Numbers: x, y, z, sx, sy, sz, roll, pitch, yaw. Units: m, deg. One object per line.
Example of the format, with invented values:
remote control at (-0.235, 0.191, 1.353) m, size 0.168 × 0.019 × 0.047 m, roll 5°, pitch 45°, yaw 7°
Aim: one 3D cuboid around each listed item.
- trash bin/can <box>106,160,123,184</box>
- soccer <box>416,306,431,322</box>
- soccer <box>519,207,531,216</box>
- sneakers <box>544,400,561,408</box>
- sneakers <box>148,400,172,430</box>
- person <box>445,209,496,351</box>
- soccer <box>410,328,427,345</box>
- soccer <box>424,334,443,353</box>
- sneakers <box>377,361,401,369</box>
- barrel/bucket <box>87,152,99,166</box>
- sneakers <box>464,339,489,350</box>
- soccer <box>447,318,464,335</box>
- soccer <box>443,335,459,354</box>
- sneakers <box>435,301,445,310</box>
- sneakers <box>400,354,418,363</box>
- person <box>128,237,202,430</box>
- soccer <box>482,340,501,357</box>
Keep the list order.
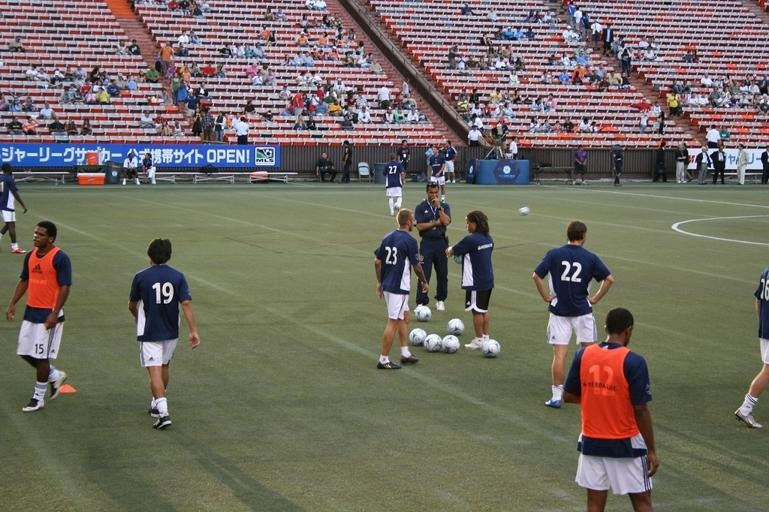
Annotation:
trash bin/can at (-12.078, -3.738, 45.406) m, size 0.500 × 0.963 × 0.884 m, roll 11°, pitch 15°, yaw 43°
soccer at (0.818, 1.196, 20.486) m, size 0.283 × 0.296 × 0.288 m, roll -18°, pitch -37°, yaw 32°
soccer at (4.822, -1.522, 34.918) m, size 0.331 × 0.251 × 0.359 m, roll 0°, pitch -1°, yaw -7°
sneakers at (2.702, 2.395, 16.395) m, size 0.112 × 0.106 × 0.228 m, roll -1°, pitch 8°, yaw -24°
sneakers at (-3.433, 2.448, 15.489) m, size 0.210 × 0.282 × 0.642 m, roll -2°, pitch 7°, yaw -16°
person at (1.661, 0.489, 18.752) m, size 0.669 × 2.509 × 0.509 m, roll 3°, pitch 10°, yaw 13°
soccer at (0.633, 1.539, 19.105) m, size 0.272 × 0.290 × 0.279 m, roll 4°, pitch -2°, yaw -5°
soccer at (0.926, 1.642, 18.830) m, size 0.289 × 0.304 × 0.286 m, roll -4°, pitch 0°, yaw 30°
sneakers at (0.081, 1.900, 17.791) m, size 0.384 × 0.163 × 0.154 m, roll -1°, pitch 4°, yaw -5°
barrel/bucket at (-13.034, -4.330, 45.236) m, size 0.562 × 0.741 × 0.567 m, roll -1°, pitch 3°, yaw 0°
sneakers at (1.697, 1.659, 18.806) m, size 0.458 × 0.224 × 0.178 m, roll -1°, pitch 5°, yaw 25°
soccer at (1.395, 1.390, 19.637) m, size 0.280 × 0.297 × 0.283 m, roll 2°, pitch -3°, yaw -13°
soccer at (1.229, 1.655, 18.727) m, size 0.283 × 0.302 × 0.280 m, roll 0°, pitch 4°, yaw 1°
sneakers at (1.172, 1.072, 21.405) m, size 0.158 × 0.195 × 0.443 m, roll 0°, pitch -2°, yaw -1°
sneakers at (0.435, 1.850, 18.093) m, size 0.321 × 0.166 × 0.121 m, roll -1°, pitch 6°, yaw -3°
person at (-3.417, 1.163, 15.678) m, size 0.990 × 2.810 × 1.141 m, roll -2°, pitch 11°, yaw -14°
soccer at (1.951, 1.703, 18.496) m, size 0.295 × 0.312 × 0.286 m, roll 1°, pitch 0°, yaw -19°
